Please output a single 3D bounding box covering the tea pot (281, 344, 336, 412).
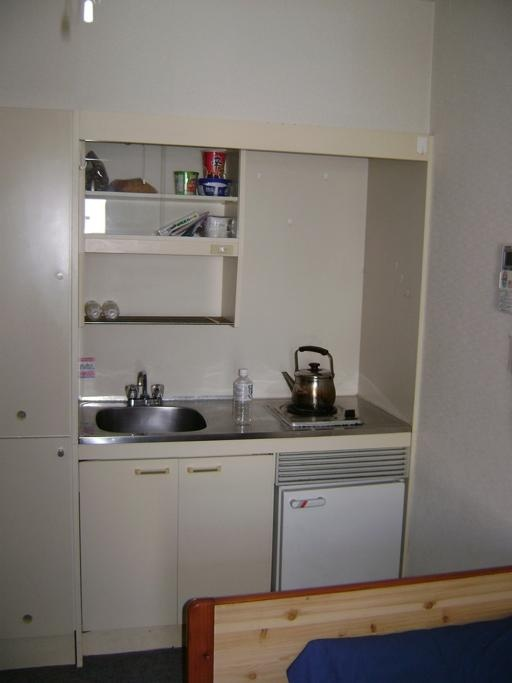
[{"bbox_3d":[0.251,0.191,2.760,0.198,0.319,0.308,1,-1,-39],"label":"tea pot"}]

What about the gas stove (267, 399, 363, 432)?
[{"bbox_3d":[0.259,0.318,2.633,0.361,0.064,0.473,2,11,-12],"label":"gas stove"}]
